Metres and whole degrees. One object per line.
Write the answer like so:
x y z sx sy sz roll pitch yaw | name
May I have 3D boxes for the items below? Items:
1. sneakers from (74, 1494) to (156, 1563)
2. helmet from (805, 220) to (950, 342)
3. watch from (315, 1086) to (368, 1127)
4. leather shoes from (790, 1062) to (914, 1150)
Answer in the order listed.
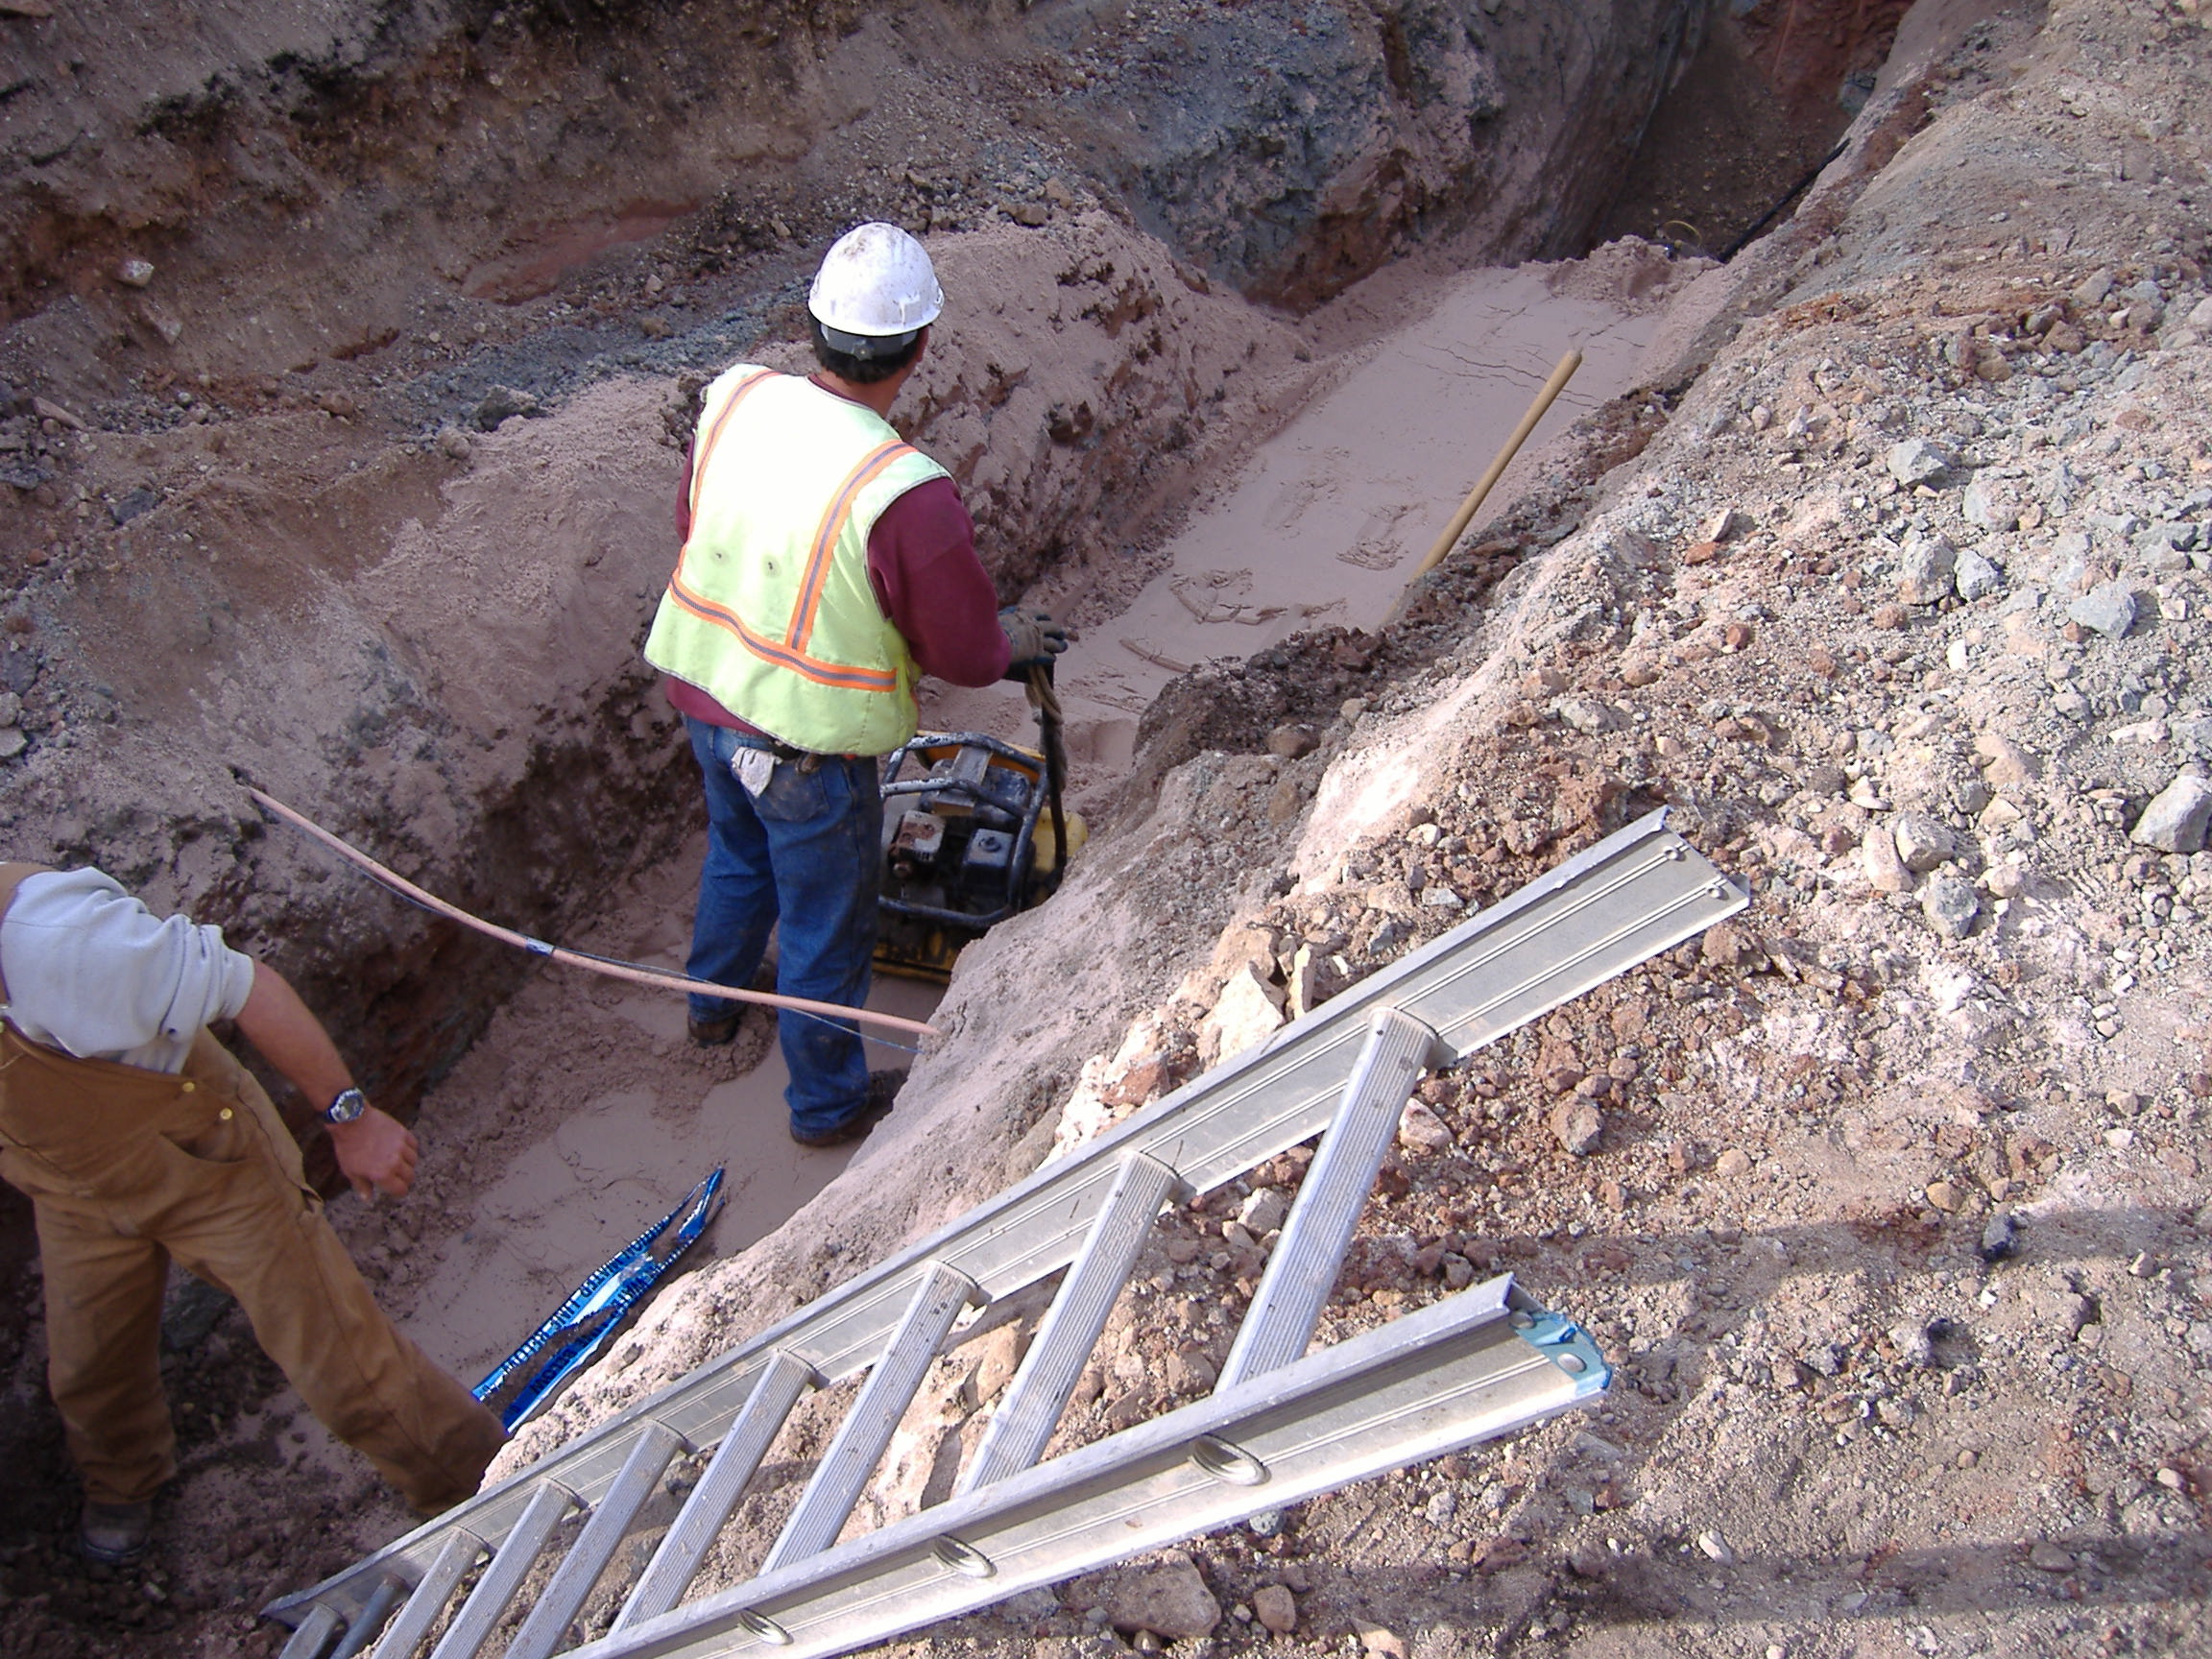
-2.635 1.873 6.274 0.165 0.157 0.131 2 25 -6 | sneakers
-0.632 -1.455 6.328 0.337 0.252 0.283 -27 43 -2 | helmet
-1.956 0.696 6.037 0.094 0.092 0.101 9 43 -19 | watch
-0.763 0.821 6.904 0.285 0.135 0.111 -34 56 -19 | leather shoes
